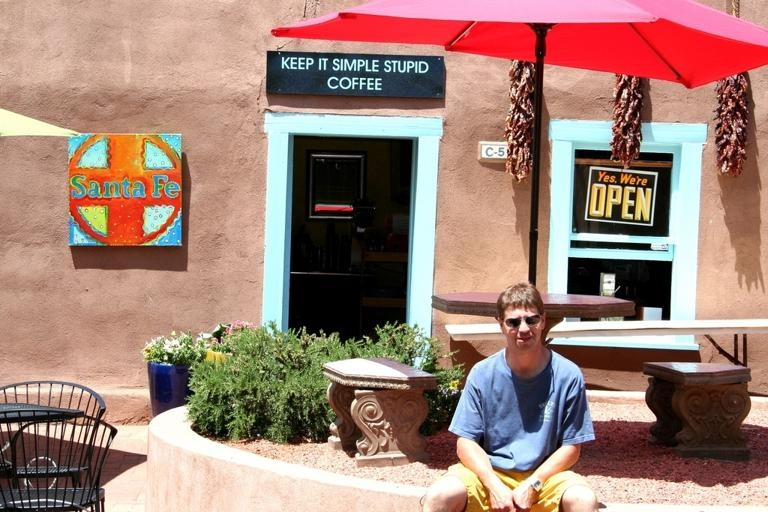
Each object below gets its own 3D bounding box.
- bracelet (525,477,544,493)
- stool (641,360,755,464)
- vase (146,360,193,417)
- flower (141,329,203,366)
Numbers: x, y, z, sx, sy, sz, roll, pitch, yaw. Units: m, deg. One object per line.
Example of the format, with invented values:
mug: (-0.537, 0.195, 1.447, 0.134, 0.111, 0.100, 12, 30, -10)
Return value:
bracelet: (1.191, 1.775, 8.000, 0.113, 0.094, 0.028, 5, 2, -17)
stool: (2.966, 1.449, 9.724, 0.932, 0.857, 0.470, 1, -3, 12)
vase: (-2.267, 1.404, 10.926, 0.513, 0.579, 0.191, 0, -3, 18)
flower: (-2.208, 0.996, 11.136, 0.530, 0.262, 0.455, 4, 4, 2)
